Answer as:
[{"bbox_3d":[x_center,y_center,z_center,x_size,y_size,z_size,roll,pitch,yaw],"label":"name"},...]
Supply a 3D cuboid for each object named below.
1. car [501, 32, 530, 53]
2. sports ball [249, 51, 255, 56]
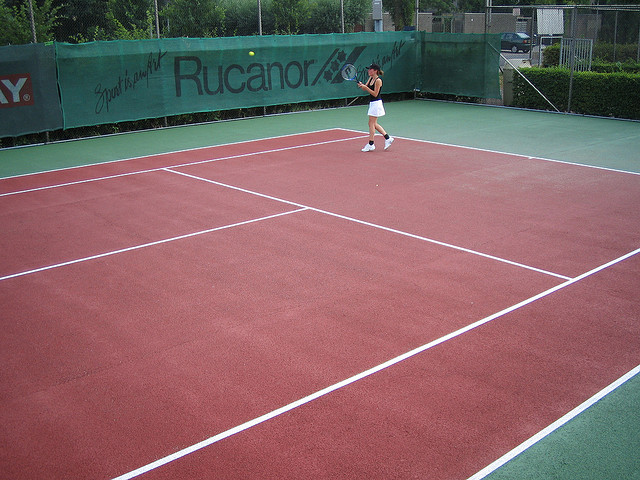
[{"bbox_3d":[18.418,-18.681,47.800,2.503,1.804,1.429,9,20,28],"label":"car"},{"bbox_3d":[-2.528,-6.937,18.802,0.131,0.175,0.137,-7,20,2],"label":"sports ball"}]
